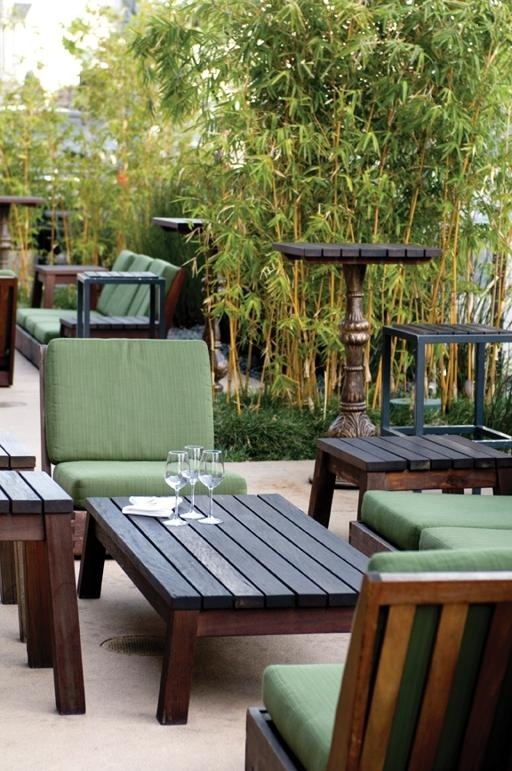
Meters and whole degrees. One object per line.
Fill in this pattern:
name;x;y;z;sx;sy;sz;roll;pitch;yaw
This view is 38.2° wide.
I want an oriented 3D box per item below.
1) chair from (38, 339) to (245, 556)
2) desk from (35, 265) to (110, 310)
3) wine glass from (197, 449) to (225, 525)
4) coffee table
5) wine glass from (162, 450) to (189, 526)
chair;-0.516;0.248;3.453;0.877;0.987;0.926;1;1;-18
desk;-2.262;-1.343;9.311;0.846;0.749;0.947;-5;16;-27
wine glass;-0.142;0.319;2.343;0.118;0.233;0.120;0;5;-11
coffee table;-0.156;0.626;2.307;0.646;0.296;1.059;4;2;-24
wine glass;-0.248;0.319;2.321;0.080;0.229;0.081;3;-2;-34
